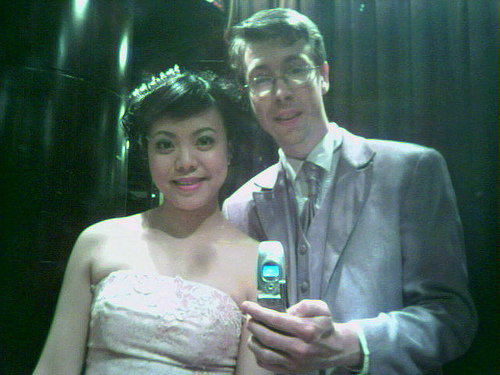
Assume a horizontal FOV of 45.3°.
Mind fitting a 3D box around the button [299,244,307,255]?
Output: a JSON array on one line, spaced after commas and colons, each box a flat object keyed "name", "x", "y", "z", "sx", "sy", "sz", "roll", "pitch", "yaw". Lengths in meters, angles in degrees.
[{"name": "button", "x": 0.235, "y": 0.272, "z": 2.644, "sx": 0.035, "sy": 0.047, "sz": 0.012, "roll": -1, "pitch": -5, "yaw": 30}]

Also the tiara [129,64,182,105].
[{"name": "tiara", "x": -0.442, "y": -0.475, "z": 2.747, "sx": 0.197, "sy": 0.176, "sz": 0.117, "roll": -10, "pitch": 13, "yaw": -9}]

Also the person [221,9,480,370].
[{"name": "person", "x": 0.439, "y": -0.012, "z": 2.696, "sx": 1.018, "sy": 1.588, "sz": 0.517, "roll": 3, "pitch": -5, "yaw": -18}]

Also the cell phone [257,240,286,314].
[{"name": "cell phone", "x": 0.085, "y": 0.342, "z": 2.378, "sx": 0.108, "sy": 0.254, "sz": 0.053, "roll": 1, "pitch": -4, "yaw": 0}]

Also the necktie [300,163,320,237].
[{"name": "necktie", "x": 0.273, "y": 0.051, "z": 2.713, "sx": 0.085, "sy": 0.336, "sz": 0.080, "roll": 1, "pitch": -5, "yaw": 6}]

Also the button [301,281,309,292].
[{"name": "button", "x": 0.241, "y": 0.432, "z": 2.630, "sx": 0.010, "sy": 0.035, "sz": 0.037, "roll": -6, "pitch": 7, "yaw": -28}]
